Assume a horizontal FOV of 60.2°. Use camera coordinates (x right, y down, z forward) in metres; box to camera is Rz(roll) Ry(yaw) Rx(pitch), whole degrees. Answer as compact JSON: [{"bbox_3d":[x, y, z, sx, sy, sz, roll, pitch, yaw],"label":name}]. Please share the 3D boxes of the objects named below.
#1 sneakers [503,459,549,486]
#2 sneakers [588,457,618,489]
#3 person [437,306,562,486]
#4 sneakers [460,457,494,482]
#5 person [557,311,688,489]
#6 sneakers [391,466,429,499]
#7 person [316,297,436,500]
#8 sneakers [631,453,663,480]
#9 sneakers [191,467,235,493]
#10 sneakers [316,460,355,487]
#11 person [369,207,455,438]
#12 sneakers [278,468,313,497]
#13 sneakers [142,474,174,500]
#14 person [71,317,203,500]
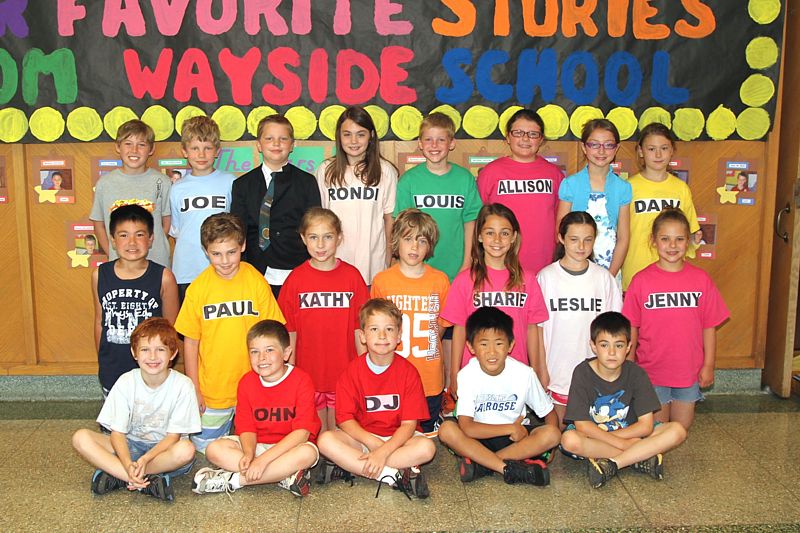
[{"bbox_3d":[0.904,1.486,5.000,0.310,0.156,0.140,1,8,3],"label":"sneakers"},{"bbox_3d":[1.491,1.482,5.040,0.285,0.197,0.128,-5,12,-14],"label":"sneakers"},{"bbox_3d":[0.739,0.947,5.144,0.861,1.216,0.511,0,12,11],"label":"person"},{"bbox_3d":[0.553,1.496,5.100,0.131,0.224,0.229,-8,-13,41],"label":"sneakers"},{"bbox_3d":[1.590,0.959,5.144,0.849,1.161,0.493,-5,12,-14],"label":"person"},{"bbox_3d":[0.081,1.533,4.952,0.303,0.131,0.139,43,42,18],"label":"sneakers"},{"bbox_3d":[-0.157,0.941,5.025,0.813,1.331,0.513,0,11,10],"label":"person"},{"bbox_3d":[1.827,1.459,5.123,0.214,0.184,0.110,2,12,20],"label":"sneakers"},{"bbox_3d":[-1.327,1.521,4.958,0.318,0.133,0.141,-3,7,-26],"label":"sneakers"},{"bbox_3d":[-0.505,1.498,5.067,0.372,0.167,0.124,0,-2,4],"label":"sneakers"},{"bbox_3d":[0.122,0.491,5.634,0.675,1.867,0.651,-8,18,-20],"label":"person"},{"bbox_3d":[-0.732,1.530,4.896,0.110,0.139,0.304,41,-1,27],"label":"sneakers"},{"bbox_3d":[-1.696,1.550,4.887,0.131,0.104,0.282,-19,19,-30],"label":"sneakers"},{"bbox_3d":[-1.780,1.025,4.932,0.806,1.110,0.855,7,9,20],"label":"person"}]
